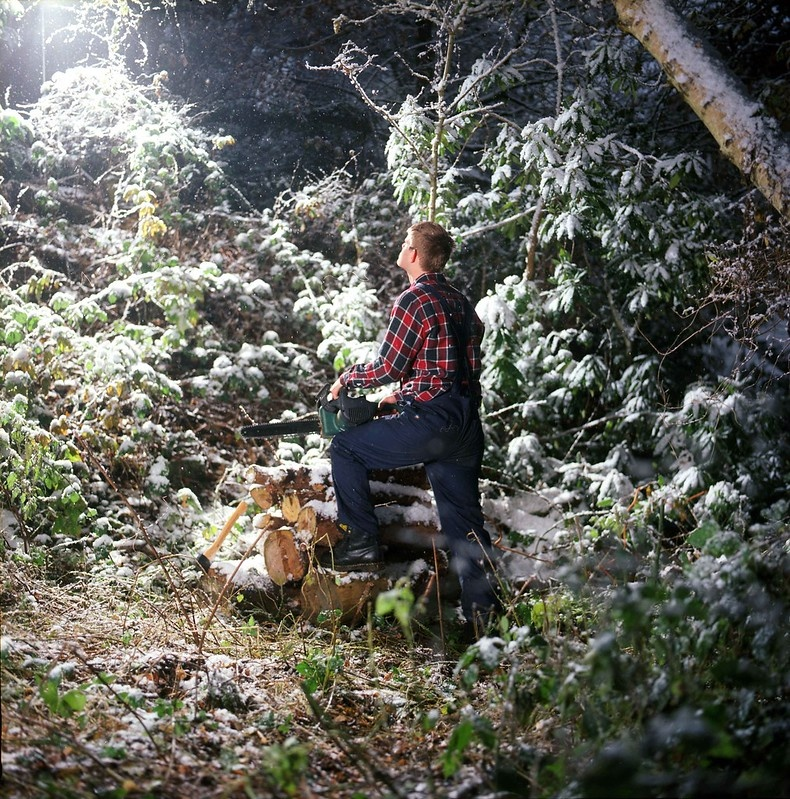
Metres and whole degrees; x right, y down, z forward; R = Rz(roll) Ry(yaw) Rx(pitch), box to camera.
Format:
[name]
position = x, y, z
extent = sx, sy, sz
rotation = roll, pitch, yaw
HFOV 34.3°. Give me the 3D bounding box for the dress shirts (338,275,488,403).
[dress shirts]
position = 0.195, -0.373, 8.267
extent = 0.627, 0.846, 1.064
rotation = 12, 9, 43
